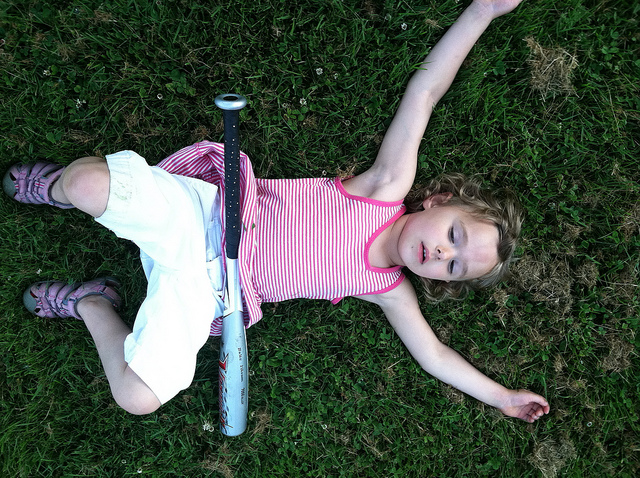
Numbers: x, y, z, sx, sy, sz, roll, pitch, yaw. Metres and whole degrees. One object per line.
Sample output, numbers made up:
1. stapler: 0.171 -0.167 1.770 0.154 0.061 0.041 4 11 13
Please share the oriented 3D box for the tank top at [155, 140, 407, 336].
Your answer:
1. tank top: 0.022 -0.002 2.913 0.800 0.292 0.779 1 85 -2
